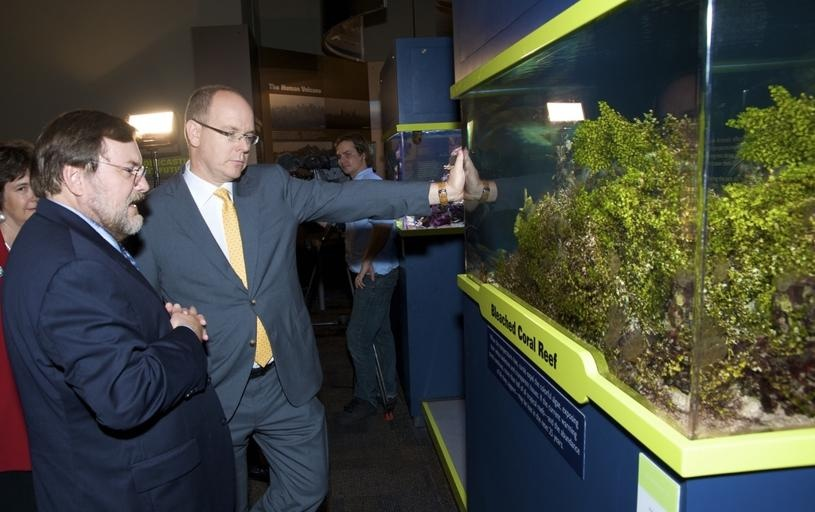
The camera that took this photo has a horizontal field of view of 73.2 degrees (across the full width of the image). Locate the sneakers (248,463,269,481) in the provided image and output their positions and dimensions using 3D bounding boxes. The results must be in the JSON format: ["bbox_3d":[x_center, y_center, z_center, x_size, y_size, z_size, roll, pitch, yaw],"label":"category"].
[{"bbox_3d":[-0.879,1.278,3.223,0.138,0.093,0.084,1,14,-4],"label":"sneakers"}]

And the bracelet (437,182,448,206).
[{"bbox_3d":[0.145,-0.265,2.256,0.040,0.081,0.083,-8,14,-2],"label":"bracelet"}]

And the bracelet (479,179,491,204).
[{"bbox_3d":[0.297,-0.245,2.062,0.041,0.064,0.064,-2,43,-9],"label":"bracelet"}]
